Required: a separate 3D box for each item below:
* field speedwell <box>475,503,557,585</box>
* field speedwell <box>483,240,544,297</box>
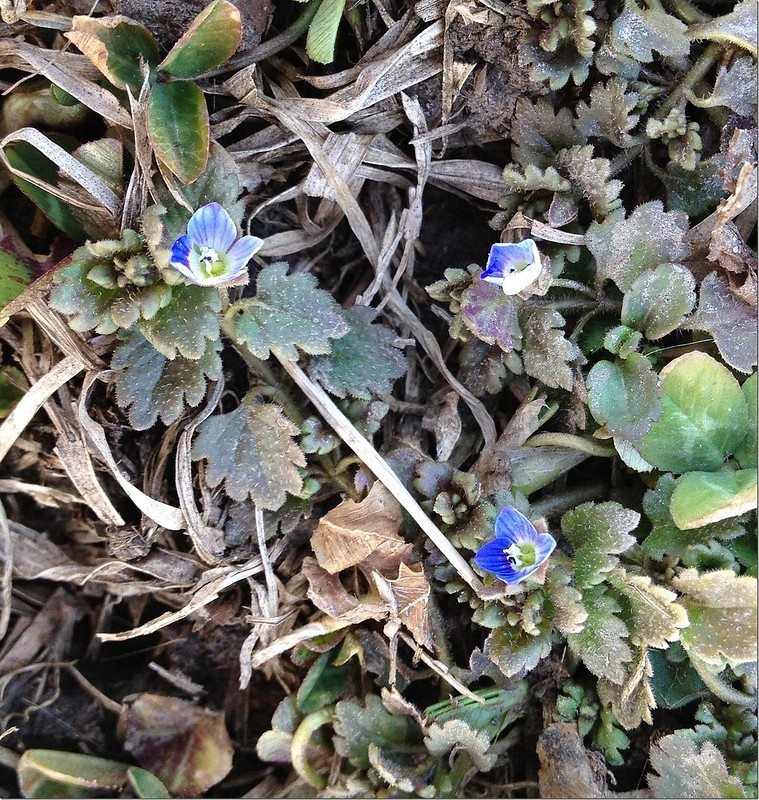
[{"bbox_3d":[0.215,0.239,1.369,0.107,0.067,0.133,-20,18,9],"label":"field speedwell"},{"bbox_3d":[0.219,-0.222,1.400,0.085,0.093,0.047,23,-6,3],"label":"field speedwell"}]
